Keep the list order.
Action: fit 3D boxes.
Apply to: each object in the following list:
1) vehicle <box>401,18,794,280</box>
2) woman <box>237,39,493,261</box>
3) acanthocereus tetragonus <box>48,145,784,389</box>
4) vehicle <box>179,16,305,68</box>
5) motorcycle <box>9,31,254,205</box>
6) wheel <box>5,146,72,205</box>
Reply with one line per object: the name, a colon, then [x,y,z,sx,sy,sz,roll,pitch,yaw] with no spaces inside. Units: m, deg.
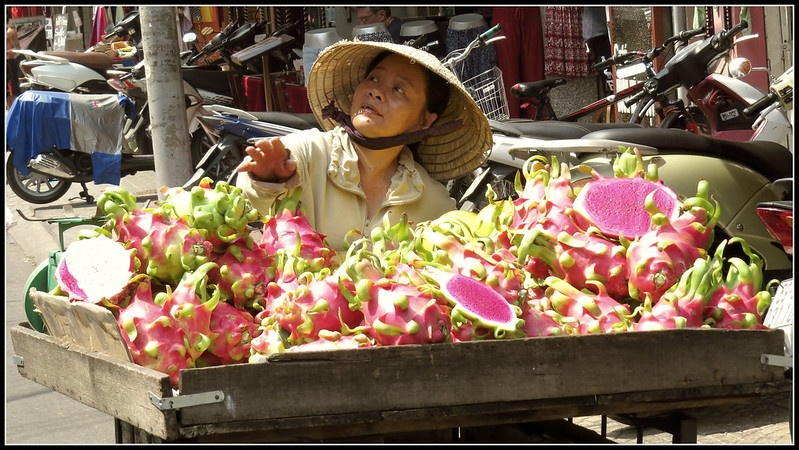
vehicle: [1.795,-0.579,4.557,2.986,1.630,1.690,-5,14,3]
woman: [-0.128,-0.451,3.268,1.498,0.871,0.937,-5,21,4]
acanthocereus tetragonus: [0.054,0.183,2.404,1.542,0.337,1.496,2,5,-16]
vehicle: [-2.217,-2.493,8.738,1.505,0.847,0.857,-8,7,-5]
motorcycle: [-3.728,-1.532,8.849,4.094,2.281,1.952,-9,17,-10]
wheel: [-4.573,-0.641,7.985,0.939,0.846,0.148,7,16,0]
